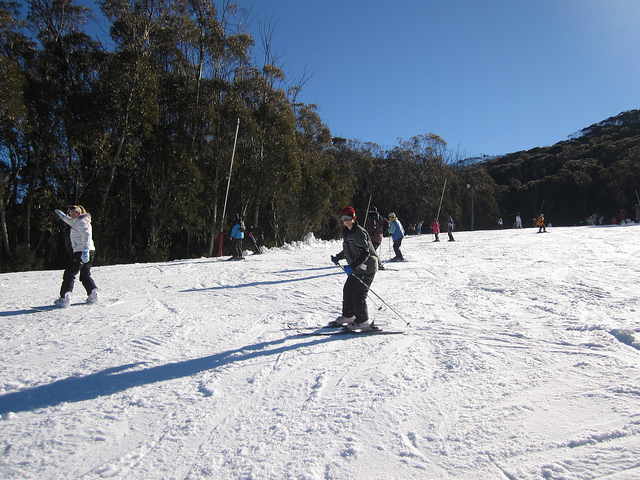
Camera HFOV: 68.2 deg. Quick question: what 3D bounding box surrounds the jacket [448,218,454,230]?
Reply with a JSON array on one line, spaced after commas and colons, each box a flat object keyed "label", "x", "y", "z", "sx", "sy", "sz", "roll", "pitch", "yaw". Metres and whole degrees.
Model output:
[{"label": "jacket", "x": 7.093, "y": -0.771, "z": 25.607, "sx": 0.137, "sy": 0.614, "sz": 0.286, "roll": 1, "pitch": -2, "yaw": -39}]

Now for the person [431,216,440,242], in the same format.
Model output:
[{"label": "person", "x": 6.591, "y": -0.480, "z": 26.797, "sx": 0.324, "sy": 1.397, "sz": 2.607, "roll": -1, "pitch": -2, "yaw": 15}]

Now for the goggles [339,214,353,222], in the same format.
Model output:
[{"label": "goggles", "x": 0.521, "y": -0.402, "z": 9.230, "sx": 0.236, "sy": 0.144, "sz": 0.186, "roll": -1, "pitch": -2, "yaw": 0}]

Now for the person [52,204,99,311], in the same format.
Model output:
[{"label": "person", "x": -5.441, "y": 0.414, "z": 10.474, "sx": 0.904, "sy": 2.263, "sz": 0.986, "roll": 0, "pitch": -2, "yaw": -32}]

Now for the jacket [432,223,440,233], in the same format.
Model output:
[{"label": "jacket", "x": 6.376, "y": -0.596, "z": 25.853, "sx": 0.344, "sy": 0.432, "sz": 0.864, "roll": 3, "pitch": -12, "yaw": 32}]

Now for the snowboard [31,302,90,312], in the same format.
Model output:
[{"label": "snowboard", "x": -5.641, "y": 1.486, "z": 10.238, "sx": 1.002, "sy": 0.129, "sz": 0.518, "roll": 0, "pitch": -3, "yaw": -33}]

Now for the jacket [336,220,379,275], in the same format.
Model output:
[{"label": "jacket", "x": 0.735, "y": 0.159, "z": 9.461, "sx": 0.628, "sy": 1.156, "sz": 0.995, "roll": -7, "pitch": 5, "yaw": -17}]

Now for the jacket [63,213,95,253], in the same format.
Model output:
[{"label": "jacket", "x": -5.223, "y": -0.123, "z": 10.275, "sx": 0.410, "sy": 0.829, "sz": 0.252, "roll": -1, "pitch": -1, "yaw": -18}]

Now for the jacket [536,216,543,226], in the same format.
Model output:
[{"label": "jacket", "x": 13.914, "y": -1.023, "z": 29.647, "sx": 0.197, "sy": 0.643, "sz": 0.443, "roll": 10, "pitch": 21, "yaw": -3}]
